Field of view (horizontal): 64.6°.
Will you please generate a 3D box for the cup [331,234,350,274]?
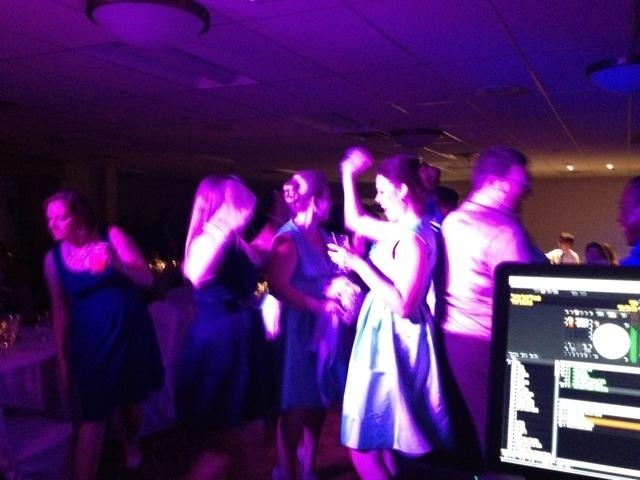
[{"bbox_3d":[0.099,0.065,2.478,0.060,0.179,0.128,1,0,-5],"label":"cup"}]
